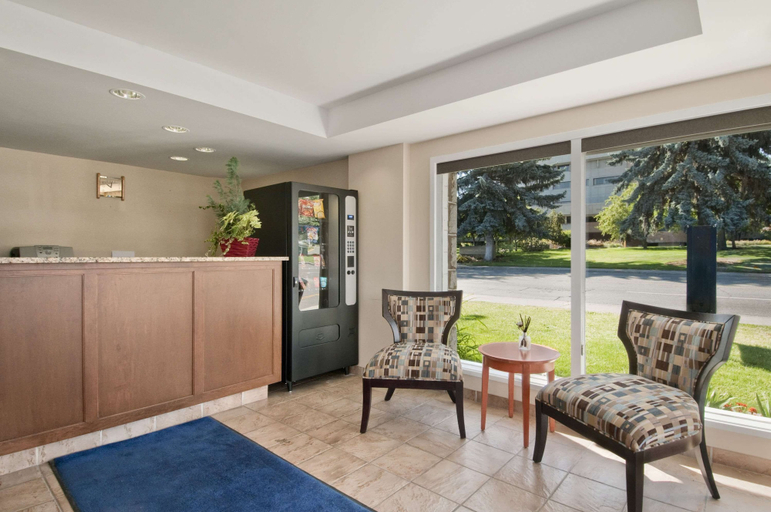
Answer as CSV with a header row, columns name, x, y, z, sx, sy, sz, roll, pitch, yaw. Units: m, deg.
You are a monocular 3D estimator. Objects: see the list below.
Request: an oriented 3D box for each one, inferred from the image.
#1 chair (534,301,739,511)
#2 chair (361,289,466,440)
name,x,y,z,sx,sy,sz,roll,pitch,yaw
chair,1.934,1.141,3.857,1.139,1.449,0.937,-5,4,-26
chair,0.286,0.990,4.817,0.972,1.289,0.874,-3,4,9
